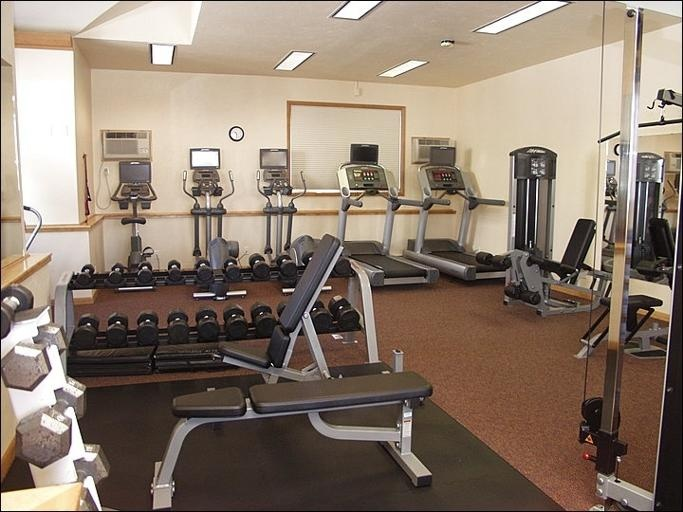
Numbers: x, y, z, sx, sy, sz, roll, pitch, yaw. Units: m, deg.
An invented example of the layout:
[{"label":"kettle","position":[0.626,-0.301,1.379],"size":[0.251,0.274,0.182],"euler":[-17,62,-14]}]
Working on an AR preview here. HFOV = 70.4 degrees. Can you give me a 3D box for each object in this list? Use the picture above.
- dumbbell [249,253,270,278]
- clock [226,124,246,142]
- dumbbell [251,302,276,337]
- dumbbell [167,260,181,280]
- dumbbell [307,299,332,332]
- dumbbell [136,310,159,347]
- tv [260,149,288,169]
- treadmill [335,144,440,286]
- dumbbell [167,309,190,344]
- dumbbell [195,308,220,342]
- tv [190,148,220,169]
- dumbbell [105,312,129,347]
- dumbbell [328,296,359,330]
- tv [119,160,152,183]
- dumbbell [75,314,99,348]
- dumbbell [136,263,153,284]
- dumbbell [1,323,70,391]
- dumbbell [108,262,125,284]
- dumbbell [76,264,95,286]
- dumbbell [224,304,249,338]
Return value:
[{"label":"dumbbell","position":[-0.684,0.008,4.045],"size":[0.158,0.171,0.373],"euler":[-2,11,-11]},{"label":"clock","position":[-1.578,-1.837,7.306],"size":[0.249,0.254,0.050],"euler":[-4,13,-23]},{"label":"dumbbell","position":[-0.583,0.382,3.638],"size":[0.178,0.196,0.427],"euler":[-1,10,-12]},{"label":"dumbbell","position":[-1.439,0.121,4.165],"size":[0.123,0.105,0.428],"euler":[6,7,-16]},{"label":"dumbbell","position":[-0.143,0.460,3.449],"size":[0.153,0.173,0.254],"euler":[0,12,-2]},{"label":"dumbbell","position":[-1.454,0.531,3.633],"size":[0.154,0.149,0.340],"euler":[2,12,-23]},{"label":"tv","position":[-0.980,-1.293,7.108],"size":[0.509,0.391,0.263],"euler":[-1,6,-13]},{"label":"treadmill","position":[0.630,-0.666,6.766],"size":[1.221,2.180,1.178],"euler":[1,10,-17]},{"label":"dumbbell","position":[-1.208,0.543,3.658],"size":[0.140,0.143,0.324],"euler":[-1,24,-27]},{"label":"dumbbell","position":[-0.997,0.518,3.660],"size":[0.147,0.149,0.338],"euler":[-13,18,-15]},{"label":"tv","position":[-1.965,-1.391,6.941],"size":[0.294,0.216,0.084],"euler":[-1,5,-17]},{"label":"dumbbell","position":[-1.669,0.551,3.605],"size":[0.146,0.143,0.325],"euler":[6,9,-22]},{"label":"dumbbell","position":[0.024,0.434,3.662],"size":[0.210,0.205,0.288],"euler":[-2,12,-10]},{"label":"tv","position":[-2.801,-1.139,6.579],"size":[0.418,0.289,0.095],"euler":[0,6,-18]},{"label":"dumbbell","position":[-1.844,0.547,3.518],"size":[0.096,0.097,0.203],"euler":[0,18,-16]},{"label":"dumbbell","position":[-1.621,0.144,3.998],"size":[0.082,0.101,0.279],"euler":[-1,4,-16]},{"label":"dumbbell","position":[-1.215,0.410,1.913],"size":[0.125,0.230,0.212],"euler":[12,16,44]},{"label":"dumbbell","position":[-1.847,0.134,4.001],"size":[0.110,0.102,0.341],"euler":[-3,10,-16]},{"label":"dumbbell","position":[-2.048,0.159,3.900],"size":[0.130,0.092,0.249],"euler":[0,17,-14]},{"label":"dumbbell","position":[-0.798,0.492,3.695],"size":[0.146,0.153,0.325],"euler":[-7,16,-14]}]
